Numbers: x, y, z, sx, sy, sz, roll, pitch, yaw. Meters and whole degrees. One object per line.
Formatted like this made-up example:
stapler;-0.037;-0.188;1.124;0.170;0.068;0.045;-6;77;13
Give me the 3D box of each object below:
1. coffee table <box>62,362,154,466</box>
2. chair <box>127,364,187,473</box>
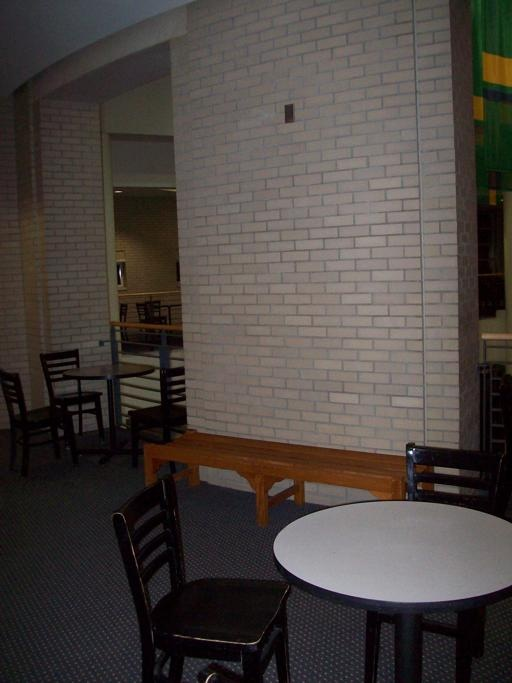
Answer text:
coffee table;-1.363;0.644;5.263;0.710;0.738;0.751;-4;-1;-17
chair;-0.868;0.669;5.009;0.493;0.788;0.509;-3;-9;17
